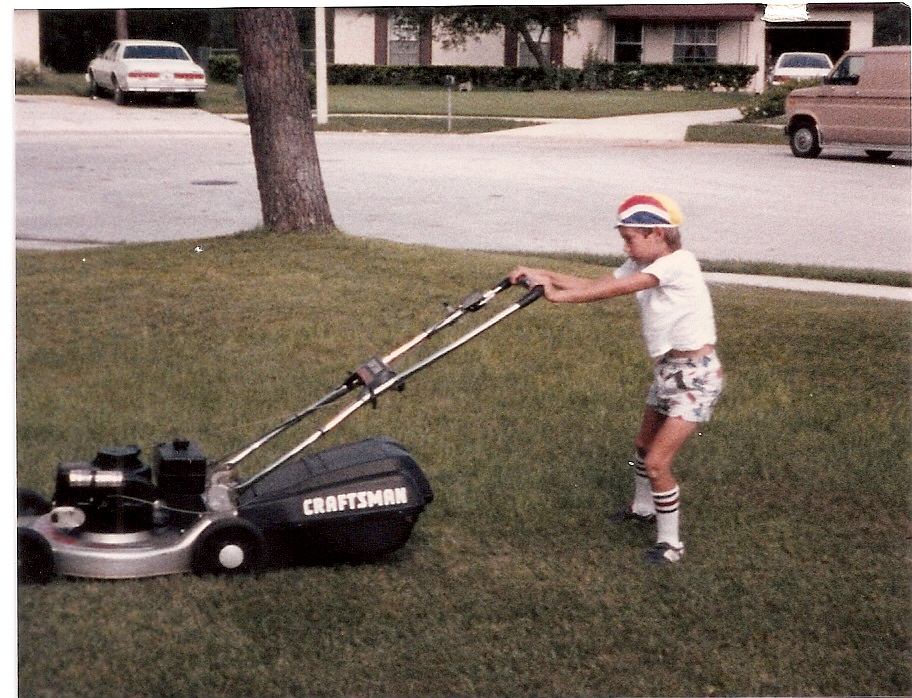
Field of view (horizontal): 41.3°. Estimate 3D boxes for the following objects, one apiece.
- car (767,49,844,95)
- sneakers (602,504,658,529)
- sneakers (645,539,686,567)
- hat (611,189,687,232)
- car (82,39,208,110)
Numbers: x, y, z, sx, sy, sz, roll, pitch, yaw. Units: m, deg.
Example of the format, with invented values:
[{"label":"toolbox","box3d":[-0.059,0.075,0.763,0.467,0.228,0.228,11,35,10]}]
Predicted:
[{"label":"car","box3d":[6.112,-4.807,21.157,1.076,0.817,2.452,2,25,12]},{"label":"sneakers","box3d":[1.204,1.170,8.353,0.352,0.164,0.138,10,-8,12]},{"label":"sneakers","box3d":[1.374,1.308,7.856,0.201,0.108,0.139,-6,19,-19]},{"label":"hat","box3d":[1.232,-0.876,7.676,0.326,0.179,0.232,4,9,2]},{"label":"car","box3d":[-3.754,-3.262,14.375,1.459,0.857,1.095,0,18,-2]}]
